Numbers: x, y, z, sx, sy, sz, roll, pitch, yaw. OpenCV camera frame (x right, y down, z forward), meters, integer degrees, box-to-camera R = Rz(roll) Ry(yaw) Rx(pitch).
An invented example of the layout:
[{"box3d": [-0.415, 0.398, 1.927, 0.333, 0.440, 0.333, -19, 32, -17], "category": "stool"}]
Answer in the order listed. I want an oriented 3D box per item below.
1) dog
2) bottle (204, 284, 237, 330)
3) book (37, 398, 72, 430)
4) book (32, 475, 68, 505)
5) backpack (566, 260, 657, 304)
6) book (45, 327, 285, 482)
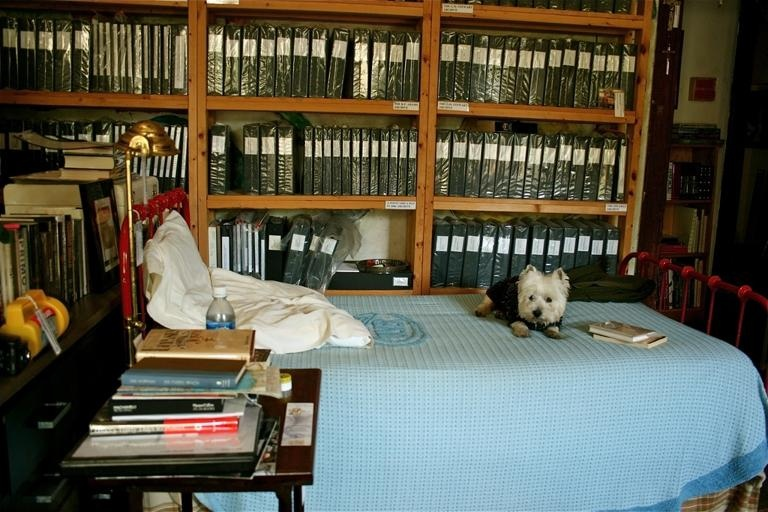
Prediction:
[{"box3d": [0.832, 0.228, 3.547, 0.506, 0.370, 0.736, 1, 10, -8], "category": "dog"}, {"box3d": [-0.677, 0.202, 2.490, 0.107, 0.174, 0.182, -4, 11, -16], "category": "bottle"}, {"box3d": [-1.278, 0.615, 2.357, 0.096, 0.028, 0.140, -1, 15, -7], "category": "book"}, {"box3d": [-1.297, 0.905, 2.359, 0.093, 0.032, 0.168, -5, 3, -13], "category": "book"}, {"box3d": [1.405, 0.184, 3.856, 0.349, 0.098, 0.338, -1, 8, -6], "category": "backpack"}, {"box3d": [-0.709, 0.497, 2.044, 0.523, 0.165, 0.505, 0, 11, -5], "category": "book"}]
